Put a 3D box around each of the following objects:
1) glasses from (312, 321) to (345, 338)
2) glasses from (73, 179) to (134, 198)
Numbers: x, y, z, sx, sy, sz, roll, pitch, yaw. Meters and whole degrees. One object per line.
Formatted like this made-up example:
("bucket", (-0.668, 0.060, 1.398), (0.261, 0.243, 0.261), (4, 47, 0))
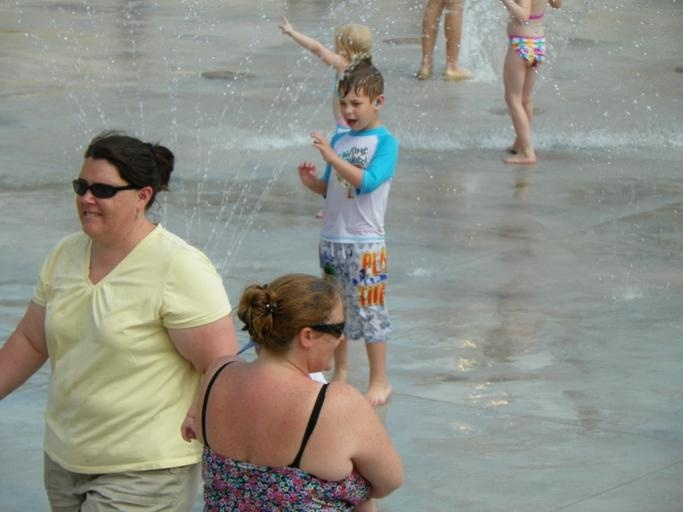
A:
("glasses", (-0.059, 0.343, 5.646), (0.106, 0.030, 0.089), (7, 8, 12))
("glasses", (-1.193, -0.340, 5.937), (0.316, 0.096, 0.089), (2, 11, 12))
